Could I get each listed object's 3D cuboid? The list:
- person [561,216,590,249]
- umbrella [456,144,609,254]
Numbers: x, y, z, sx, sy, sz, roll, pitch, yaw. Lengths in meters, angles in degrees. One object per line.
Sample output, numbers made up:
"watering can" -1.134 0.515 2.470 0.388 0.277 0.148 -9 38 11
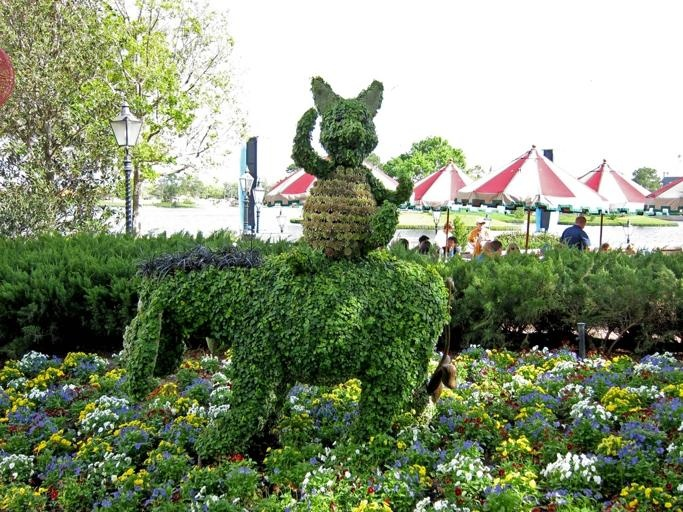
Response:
"person" 4.717 -0.513 14.569 0.574 0.711 1.583 3 1 18
"umbrella" 4.200 -1.746 15.888 2.950 1.781 1.656 4 1 18
